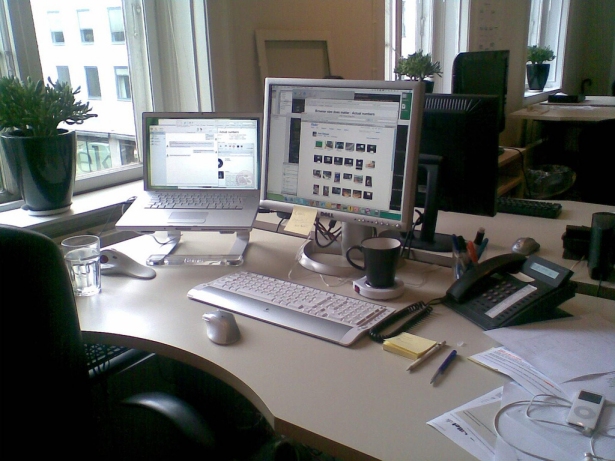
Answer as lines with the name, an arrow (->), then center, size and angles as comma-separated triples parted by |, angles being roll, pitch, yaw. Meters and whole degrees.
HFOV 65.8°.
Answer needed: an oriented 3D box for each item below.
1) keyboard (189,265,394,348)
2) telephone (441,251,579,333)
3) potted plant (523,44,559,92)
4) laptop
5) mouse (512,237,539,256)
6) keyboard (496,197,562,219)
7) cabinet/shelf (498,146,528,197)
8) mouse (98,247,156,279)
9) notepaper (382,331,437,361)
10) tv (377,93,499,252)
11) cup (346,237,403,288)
keyboard -> -0.048, 0.200, 1.361 | 0.562, 0.038, 0.277 | 9, 14, 31
telephone -> 0.540, 0.163, 1.258 | 0.265, 0.097, 0.206 | -25, 29, -15
potted plant -> 2.535, -1.785, 5.245 | 0.263, 0.482, 0.535 | 8, 19, 24
laptop -> -0.385, -0.214, 1.633 | 0.449, 0.321, 0.315 | 1, 27, 0
mouse -> 0.731, 0.049, 1.604 | 0.075, 0.028, 0.083 | -27, 31, -22
keyboard -> 0.913, -0.106, 1.971 | 0.205, 0.041, 0.109 | 10, 23, 27
cabinet/shelf -> 1.424, -0.407, 3.327 | 0.180, 0.370, 0.326 | 13, 23, 32
mouse -> -0.593, 0.097, 1.544 | 0.220, 0.075, 0.108 | 4, 25, 8
notepaper -> 0.243, 0.263, 1.133 | 0.064, 0.016, 0.065 | 14, 22, 37
tv -> 0.417, -0.201, 1.533 | 0.384, 0.511, 0.232 | 17, 36, 29
cup -> 0.194, 0.056, 1.419 | 0.144, 0.148, 0.177 | 11, 19, 25
